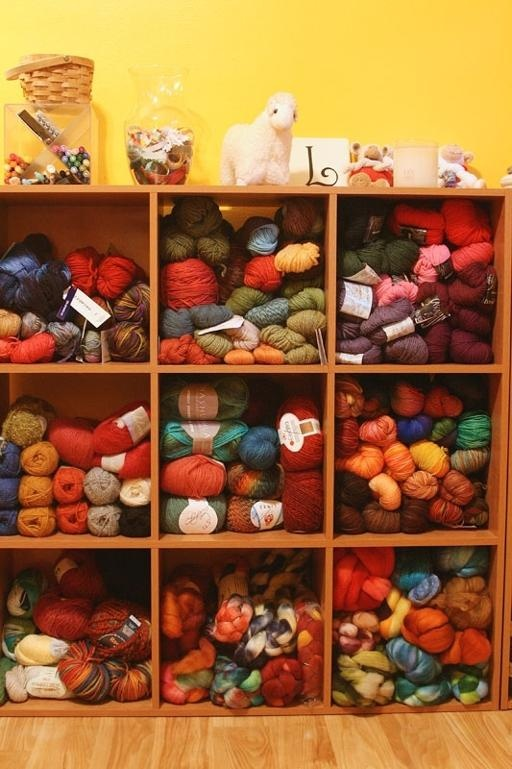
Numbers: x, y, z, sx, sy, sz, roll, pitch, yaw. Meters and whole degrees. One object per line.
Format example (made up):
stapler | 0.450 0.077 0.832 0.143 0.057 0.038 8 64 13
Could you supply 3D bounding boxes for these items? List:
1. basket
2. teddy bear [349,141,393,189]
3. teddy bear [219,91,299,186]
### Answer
basket | -0.506 -0.733 1.614 0.175 0.077 0.159 -3 13 -10
teddy bear | 0.295 -0.569 1.699 0.116 0.129 0.148 2 7 9
teddy bear | 0.004 -0.568 1.534 0.169 0.200 0.104 0 7 -2
